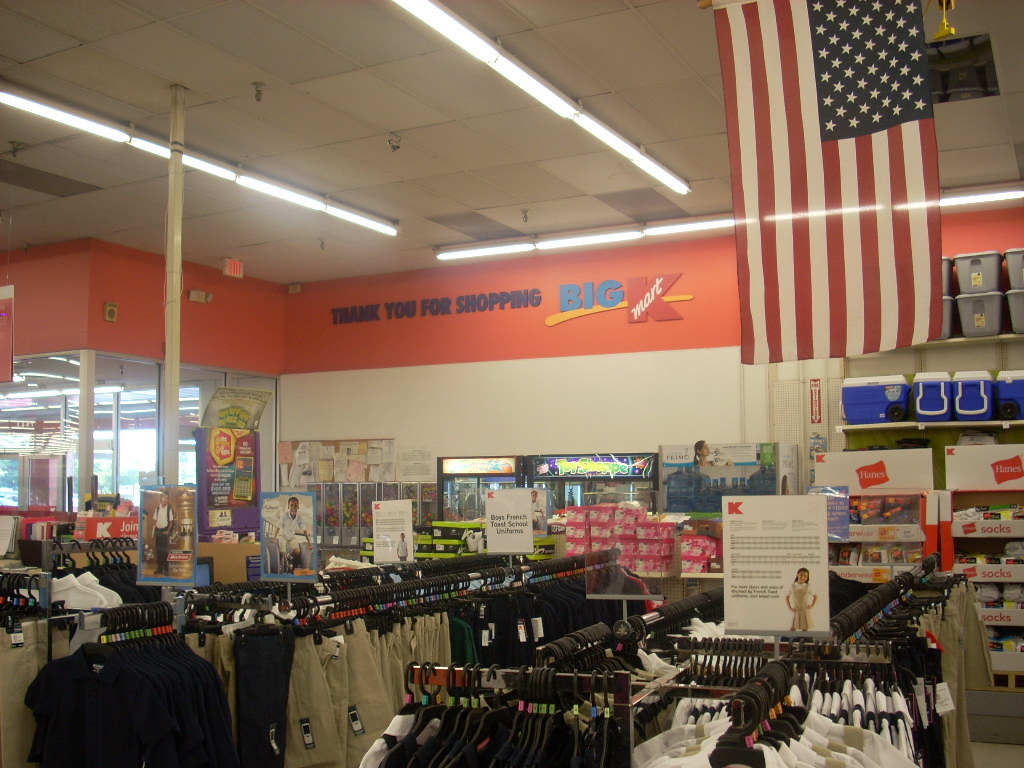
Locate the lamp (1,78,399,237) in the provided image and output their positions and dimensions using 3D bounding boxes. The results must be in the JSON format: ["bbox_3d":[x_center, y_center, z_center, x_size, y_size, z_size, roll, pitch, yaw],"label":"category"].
[{"bbox_3d":[-3.114,-2.263,8.749,0.501,0.222,4.335,-7,-8,36],"label":"lamp"}]

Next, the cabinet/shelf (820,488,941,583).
[{"bbox_3d":[2.898,1.184,6.459,1.062,0.953,0.356,-1,-11,12],"label":"cabinet/shelf"}]
